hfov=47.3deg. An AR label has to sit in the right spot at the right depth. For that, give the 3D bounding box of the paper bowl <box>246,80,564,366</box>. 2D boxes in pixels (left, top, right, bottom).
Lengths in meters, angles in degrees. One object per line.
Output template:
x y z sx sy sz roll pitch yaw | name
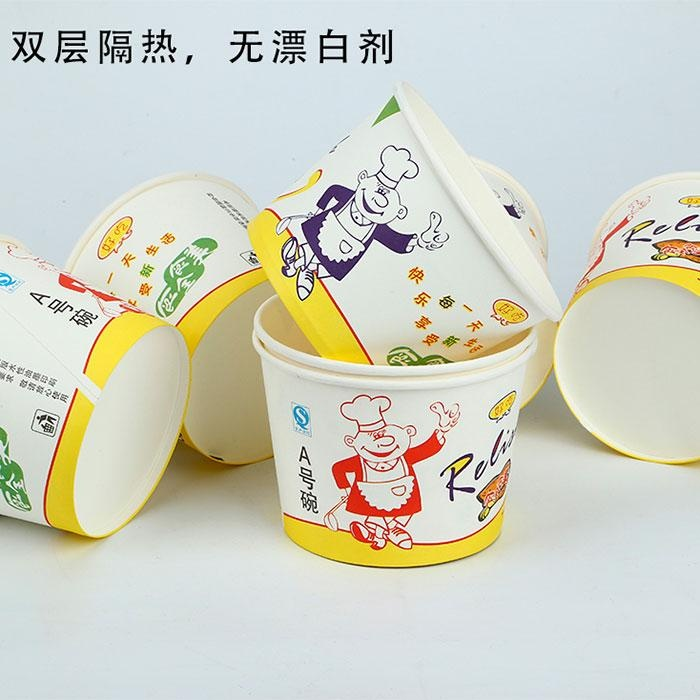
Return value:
0.085 -0.115 1.454 0.409 0.499 0.520 -40 -9 -8 | paper bowl

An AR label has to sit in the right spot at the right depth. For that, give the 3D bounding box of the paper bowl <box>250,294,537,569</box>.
0.044 0.153 1.495 0.517 0.316 0.509 0 2 0 | paper bowl
